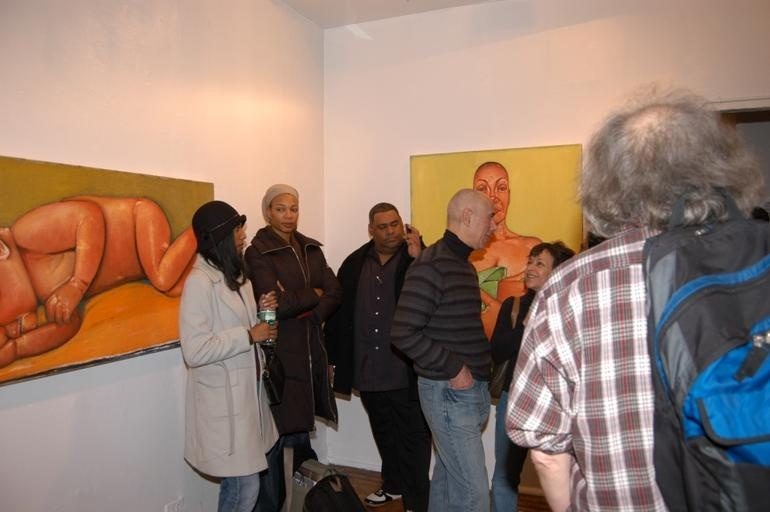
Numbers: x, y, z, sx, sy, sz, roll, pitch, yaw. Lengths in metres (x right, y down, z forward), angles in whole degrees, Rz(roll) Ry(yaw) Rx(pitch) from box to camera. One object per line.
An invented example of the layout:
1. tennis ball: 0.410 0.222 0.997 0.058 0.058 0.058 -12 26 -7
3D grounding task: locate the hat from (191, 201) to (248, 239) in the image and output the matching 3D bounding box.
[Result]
1. hat: -0.899 -0.214 3.070 0.191 0.117 0.227 -24 16 27

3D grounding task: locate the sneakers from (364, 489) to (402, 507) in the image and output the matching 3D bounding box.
1. sneakers: -0.013 1.726 4.024 0.260 0.087 0.099 8 -9 -28

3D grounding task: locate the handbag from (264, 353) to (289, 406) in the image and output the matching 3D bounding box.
1. handbag: -0.641 0.711 3.249 0.096 0.271 0.167 -8 -9 -2
